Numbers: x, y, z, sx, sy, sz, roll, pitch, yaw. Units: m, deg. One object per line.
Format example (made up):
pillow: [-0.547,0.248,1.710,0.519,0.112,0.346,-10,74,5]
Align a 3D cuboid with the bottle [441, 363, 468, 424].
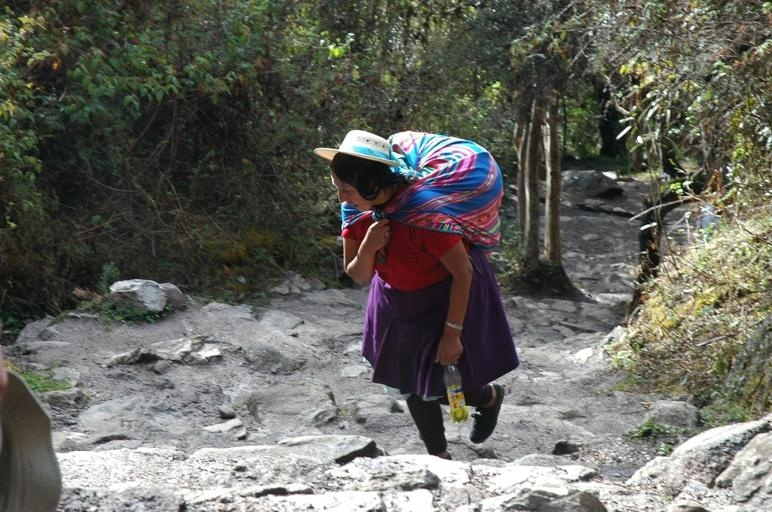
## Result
bottle: [0.579,1.151,7.296,0.185,0.484,0.186,-2,4,0]

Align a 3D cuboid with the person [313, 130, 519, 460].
person: [0.360,0.368,7.256,1.365,2.796,0.563,-2,4,7]

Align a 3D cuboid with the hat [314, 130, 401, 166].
hat: [-0.189,-0.898,7.159,0.794,0.235,0.759,11,6,8]
